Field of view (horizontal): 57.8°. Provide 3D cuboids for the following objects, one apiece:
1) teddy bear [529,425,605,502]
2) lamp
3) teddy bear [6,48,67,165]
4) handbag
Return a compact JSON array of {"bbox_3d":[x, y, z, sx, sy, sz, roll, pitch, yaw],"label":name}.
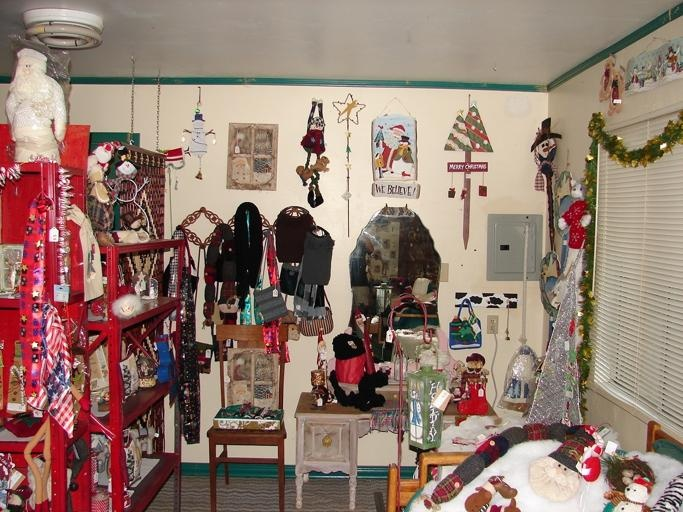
[{"bbox_3d":[1.420,1.296,3.878,0.351,0.401,0.473,5,5,43],"label":"teddy bear"},{"bbox_3d":[-2.034,-1.661,4.543,0.556,0.204,0.422,0,4,-18],"label":"lamp"},{"bbox_3d":[-2.023,-0.998,4.107,0.354,0.753,0.192,-1,4,-28],"label":"teddy bear"},{"bbox_3d":[-0.406,0.246,5.632,0.713,0.995,0.357,1,3,-9],"label":"handbag"}]
